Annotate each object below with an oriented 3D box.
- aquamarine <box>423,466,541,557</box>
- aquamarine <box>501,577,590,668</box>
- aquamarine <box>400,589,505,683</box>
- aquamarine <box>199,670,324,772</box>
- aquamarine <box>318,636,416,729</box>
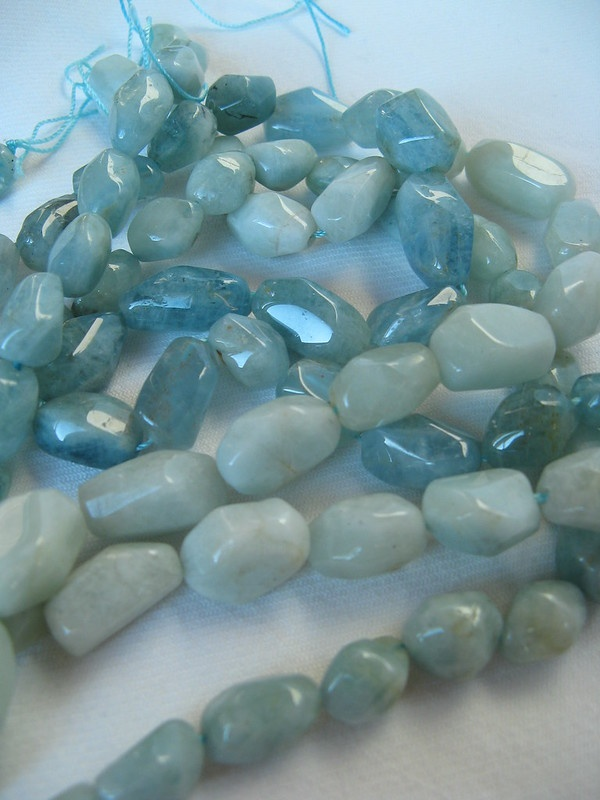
[{"bbox_3d":[0.117,0.072,0.537,0.070,0.041,0.060,-16,33,-28],"label":"aquamarine"},{"bbox_3d":[0.160,0.145,0.540,0.043,0.036,0.057,4,34,31],"label":"aquamarine"},{"bbox_3d":[0.098,0.149,0.529,0.064,0.038,0.038,-15,30,0],"label":"aquamarine"},{"bbox_3d":[-0.024,0.191,0.503,0.076,0.030,0.036,-17,30,-5],"label":"aquamarine"},{"bbox_3d":[0.040,0.170,0.517,0.058,0.035,0.042,-31,65,-23],"label":"aquamarine"}]
